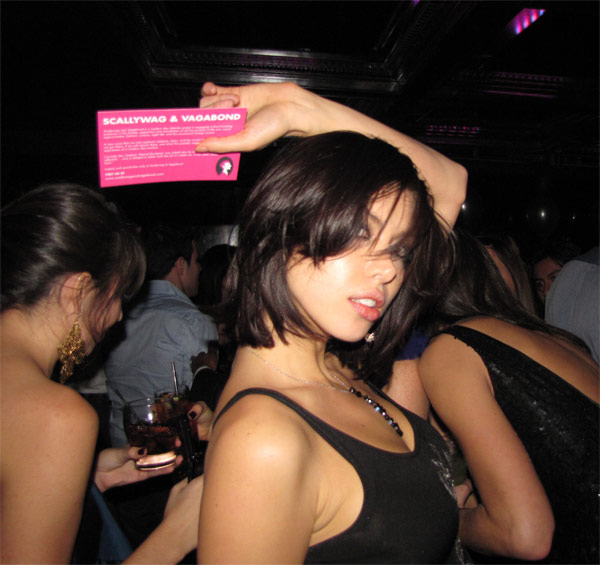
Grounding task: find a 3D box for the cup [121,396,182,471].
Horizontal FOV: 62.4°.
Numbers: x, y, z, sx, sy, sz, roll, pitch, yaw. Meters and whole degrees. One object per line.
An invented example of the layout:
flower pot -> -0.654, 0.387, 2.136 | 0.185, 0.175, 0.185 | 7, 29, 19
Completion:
cup -> -0.551, 0.558, 1.957 | 0.252, 0.243, 0.276 | 1, 92, 31
